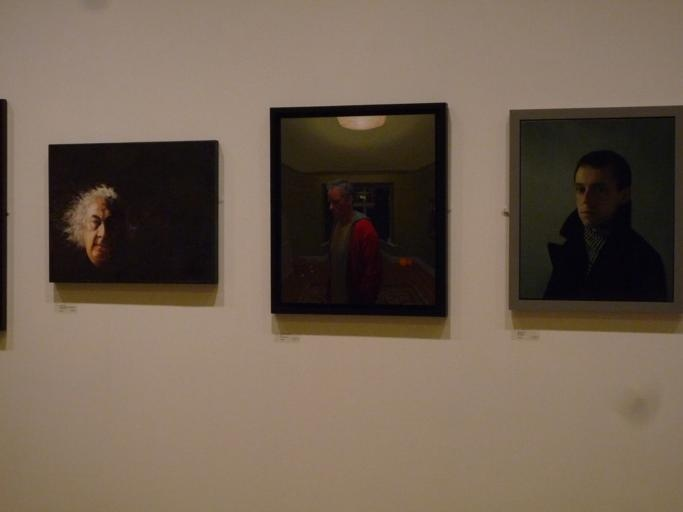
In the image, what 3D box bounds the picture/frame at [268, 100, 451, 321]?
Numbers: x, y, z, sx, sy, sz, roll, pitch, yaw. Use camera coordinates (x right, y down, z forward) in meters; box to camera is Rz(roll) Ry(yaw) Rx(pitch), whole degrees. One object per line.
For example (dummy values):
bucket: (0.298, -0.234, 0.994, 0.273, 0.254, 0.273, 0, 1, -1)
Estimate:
picture/frame: (0.108, -0.219, 2.823, 0.824, 1.142, 0.070, 0, 0, 1)
